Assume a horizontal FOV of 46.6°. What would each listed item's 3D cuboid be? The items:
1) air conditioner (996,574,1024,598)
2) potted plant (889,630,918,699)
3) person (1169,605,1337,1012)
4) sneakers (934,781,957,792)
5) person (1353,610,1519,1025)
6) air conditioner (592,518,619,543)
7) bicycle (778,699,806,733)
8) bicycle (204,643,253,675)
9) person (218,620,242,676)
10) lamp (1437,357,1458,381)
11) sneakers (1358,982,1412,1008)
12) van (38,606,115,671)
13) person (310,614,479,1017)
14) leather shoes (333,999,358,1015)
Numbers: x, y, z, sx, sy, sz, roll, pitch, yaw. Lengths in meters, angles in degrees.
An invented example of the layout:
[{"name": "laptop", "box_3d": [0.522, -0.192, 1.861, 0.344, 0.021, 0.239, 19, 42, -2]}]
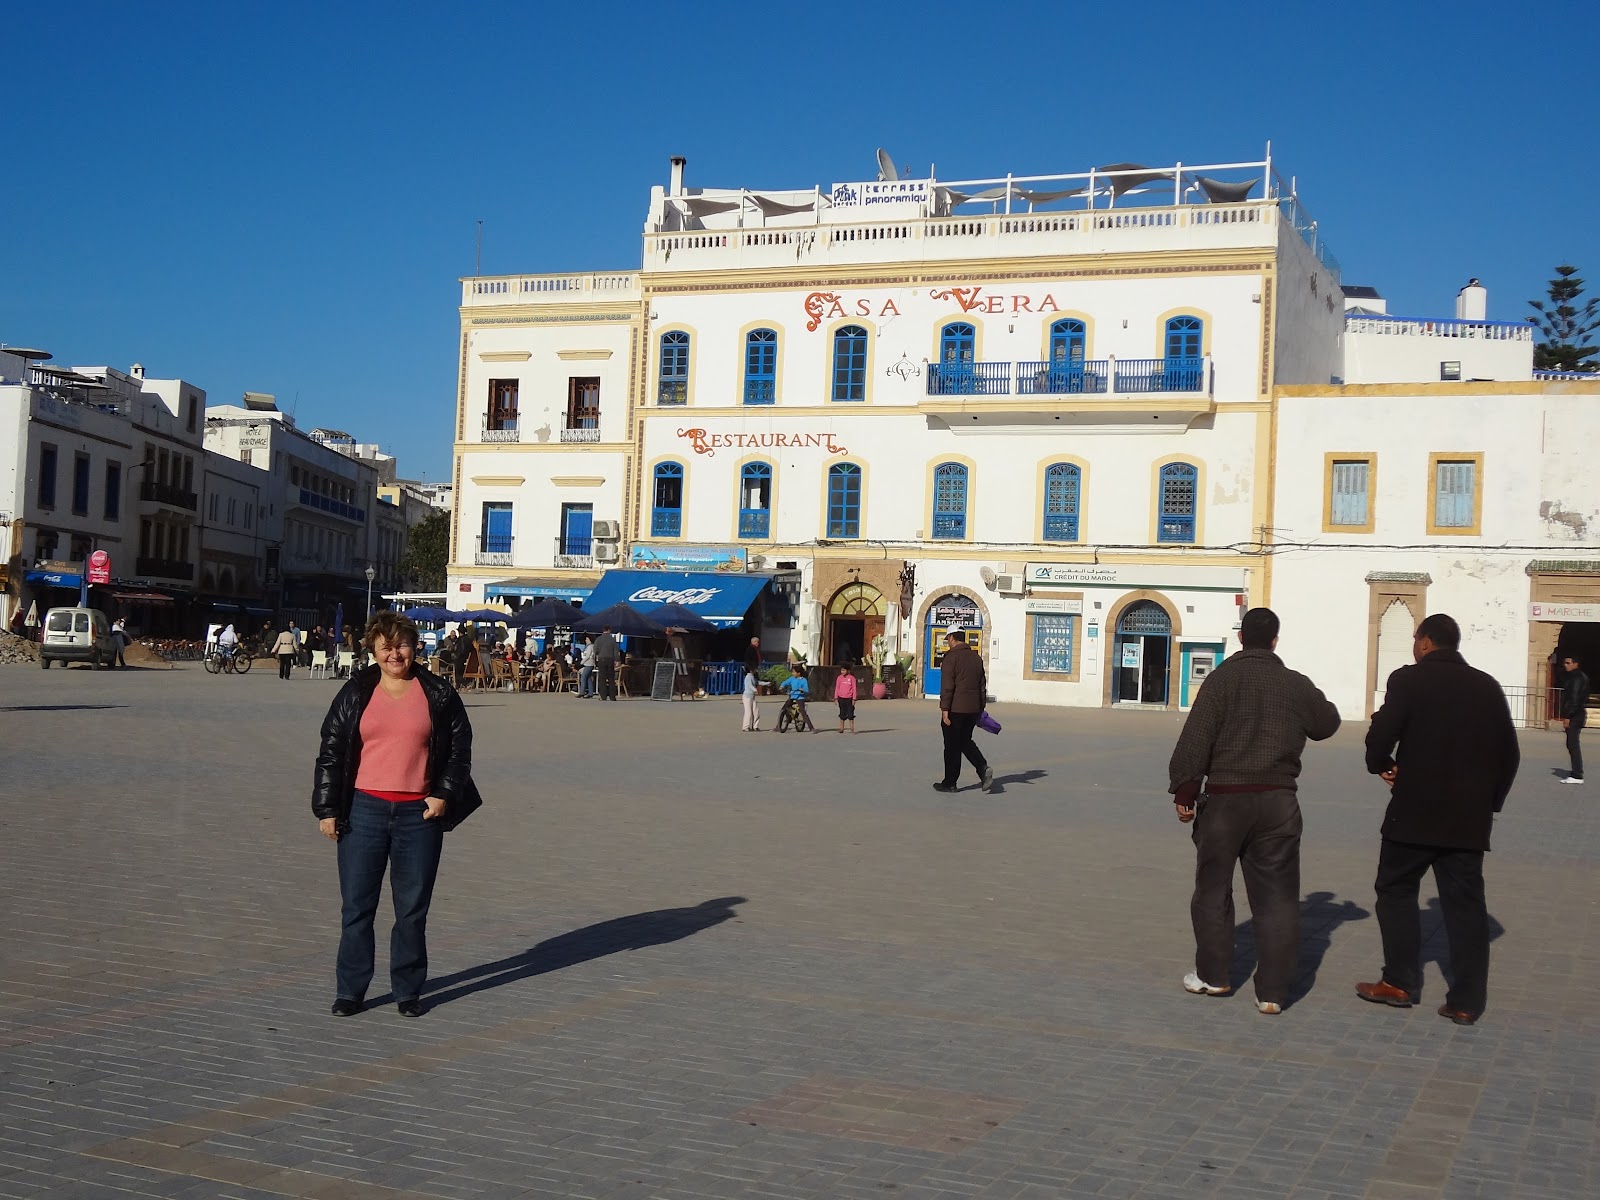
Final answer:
[{"name": "air conditioner", "box_3d": [4.968, -0.284, 43.567, 0.786, 0.781, 0.421, -1, -8, 10]}, {"name": "potted plant", "box_3d": [2.405, 1.575, 43.783, 0.545, 1.374, 1.369, 3, 4, 22]}, {"name": "person", "box_3d": [2.762, 1.267, 11.448, 0.890, 2.368, 0.639, 3, 4, 20]}, {"name": "sneakers", "box_3d": [1.590, 1.986, 19.979, 0.200, 0.104, 0.352, 2, 4, 3]}, {"name": "person", "box_3d": [3.927, 1.304, 11.430, 0.848, 2.372, 0.737, 4, 4, 26]}, {"name": "air conditioner", "box_3d": [-4.874, -1.679, 47.236, 0.814, 0.597, 0.455, -1, -7, 7]}, {"name": "bicycle", "box_3d": [-0.066, 1.870, 29.492, 0.286, 0.374, 0.592, 1, -1, 40]}, {"name": "bicycle", "box_3d": [-14.707, 1.473, 47.146, 1.470, 0.944, 0.780, 0, 3, 14]}, {"name": "person", "box_3d": [-15.311, 1.338, 50.116, 0.949, 1.134, 1.743, 1, -3, -20]}, {"name": "lamp", "box_3d": [19.417, -6.849, 55.362, 0.957, 0.539, 0.228, -1, 4, -33]}, {"name": "sneakers", "box_3d": [3.591, 2.413, 11.393, 0.263, 0.118, 0.133, 8, 8, 25]}, {"name": "van", "box_3d": [-17.511, 0.976, 45.641, 1.214, 1.521, 1.869, 4, 4, 25]}, {"name": "person", "box_3d": [-2.316, 1.216, 10.701, 0.920, 2.246, 0.545, 1, 4, -16]}, {"name": "leather shoes", "box_3d": [-2.549, 2.299, 10.513, 0.147, 0.094, 0.081, 1, 4, -17]}]
